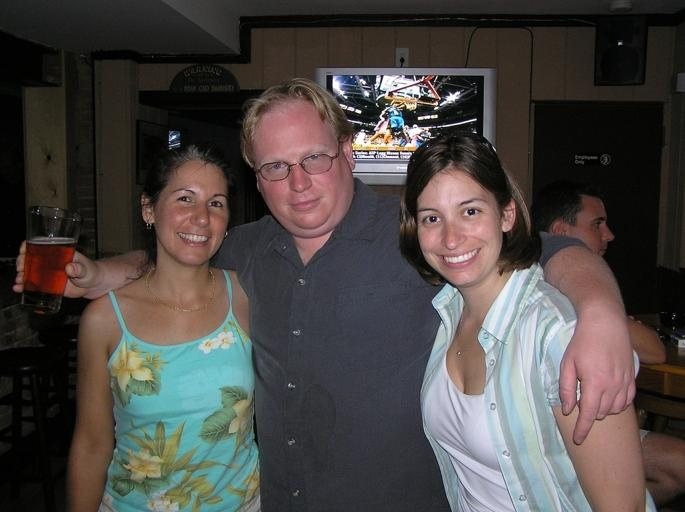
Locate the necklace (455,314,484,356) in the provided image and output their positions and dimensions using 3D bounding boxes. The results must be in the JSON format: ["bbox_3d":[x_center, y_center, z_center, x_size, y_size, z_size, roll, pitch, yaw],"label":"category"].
[{"bbox_3d":[0.501,0.316,2.322,0.075,0.136,0.103,30,-35,-19],"label":"necklace"}]

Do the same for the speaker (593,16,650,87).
[{"bbox_3d":[2.415,-1.802,5.133,0.422,0.584,0.148,1,6,9],"label":"speaker"}]

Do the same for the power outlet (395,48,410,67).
[{"bbox_3d":[0.520,-1.754,5.209,0.165,0.228,0.022,-2,9,2],"label":"power outlet"}]

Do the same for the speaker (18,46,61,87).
[{"bbox_3d":[-2.577,-1.600,4.981,0.163,0.222,0.322,1,5,-2],"label":"speaker"}]
